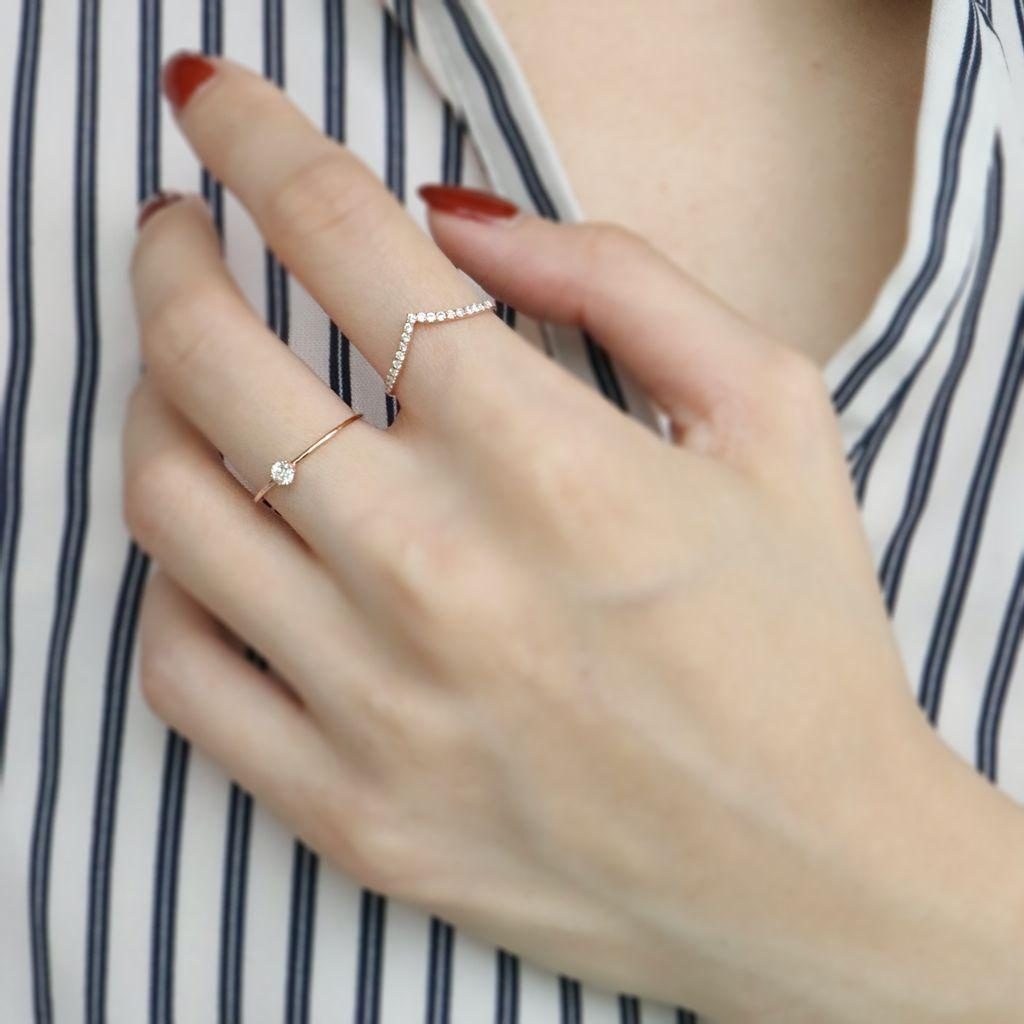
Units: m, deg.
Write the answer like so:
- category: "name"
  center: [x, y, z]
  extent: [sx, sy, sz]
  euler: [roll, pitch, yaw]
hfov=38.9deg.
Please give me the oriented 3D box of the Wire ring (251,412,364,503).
- category: "Wire ring"
  center: [-0.120, -0.017, 0.864]
  extent: [0.013, 0.045, 0.054]
  euler: [42, 94, 12]
